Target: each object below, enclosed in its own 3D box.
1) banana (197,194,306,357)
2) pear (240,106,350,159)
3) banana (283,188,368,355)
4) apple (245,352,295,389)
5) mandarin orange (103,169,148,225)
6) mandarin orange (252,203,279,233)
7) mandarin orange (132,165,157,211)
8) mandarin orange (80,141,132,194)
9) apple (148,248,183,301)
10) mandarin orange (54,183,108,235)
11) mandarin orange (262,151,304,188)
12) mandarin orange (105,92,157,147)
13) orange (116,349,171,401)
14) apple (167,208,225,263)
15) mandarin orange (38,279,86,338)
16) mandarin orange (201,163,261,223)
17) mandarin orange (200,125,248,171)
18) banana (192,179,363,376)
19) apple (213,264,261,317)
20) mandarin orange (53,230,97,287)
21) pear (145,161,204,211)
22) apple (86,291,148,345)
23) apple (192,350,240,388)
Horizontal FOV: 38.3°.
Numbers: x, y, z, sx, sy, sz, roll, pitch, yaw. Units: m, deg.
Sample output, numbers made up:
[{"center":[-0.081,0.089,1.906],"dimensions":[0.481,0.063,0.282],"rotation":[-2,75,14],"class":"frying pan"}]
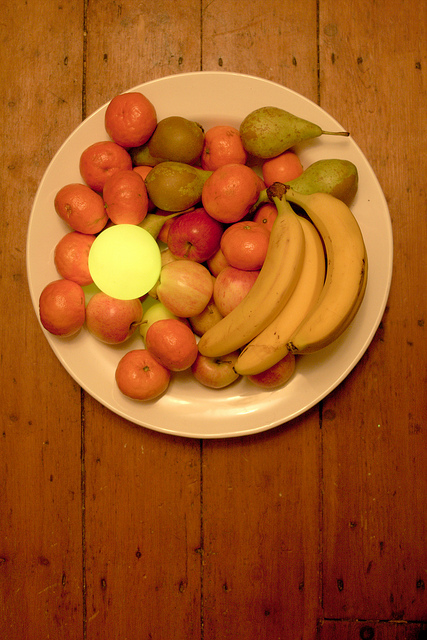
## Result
[{"center":[0.039,-0.064,0.925],"dimensions":[0.152,0.185,0.169],"rotation":[-11,53,-11],"class":"banana"},{"center":[0.100,-0.281,0.883],"dimensions":[0.129,0.030,0.065],"rotation":[-17,83,-1],"class":"pear"},{"center":[0.152,-0.076,0.830],"dimensions":[0.106,0.047,0.232],"rotation":[0,83,1],"class":"banana"},{"center":[0.091,0.077,0.886],"dimensions":[0.074,0.061,0.058],"rotation":[5,36,6],"class":"apple"},{"center":[-0.123,-0.171,0.855],"dimensions":[0.056,0.066,0.093],"rotation":[3,90,21],"class":"mandarin orange"},{"center":[0.077,-0.158,0.916],"dimensions":[0.035,0.041,0.048],"rotation":[6,105,9],"class":"mandarin orange"},{"center":[-0.101,-0.198,0.941],"dimensions":[0.044,0.073,0.054],"rotation":[2,25,12],"class":"mandarin orange"},{"center":[-0.164,-0.231,0.939],"dimensions":[0.067,0.067,0.068],"rotation":[30,49,30],"class":"mandarin orange"},{"center":[-0.082,-0.084,0.944],"dimensions":[0.051,0.068,0.073],"rotation":[13,33,10],"class":"apple"},{"center":[-0.196,-0.166,0.885],"dimensions":[0.087,0.049,0.061],"rotation":[32,84,5],"class":"mandarin orange"},{"center":[0.103,-0.224,0.906],"dimensions":[0.057,0.054,0.064],"rotation":[-16,89,10],"class":"mandarin orange"},{"center":[-0.124,-0.297,0.911],"dimensions":[0.083,0.087,0.082],"rotation":[-11,89,-26],"class":"mandarin orange"},{"center":[-0.109,0.076,0.918],"dimensions":[0.068,0.085,0.090],"rotation":[-7,99,8],"class":"orange"},{"center":[-0.024,-0.129,0.946],"dimensions":[0.086,0.073,0.074],"rotation":[28,44,31],"class":"apple"},{"center":[-0.222,-0.019,0.889],"dimensions":[0.065,0.054,0.077],"rotation":[-8,82,0],"class":"mandarin orange"},{"center":[0.017,-0.192,0.875],"dimensions":[0.084,0.088,0.080],"rotation":[-15,29,-2],"class":"mandarin orange"},{"center":[0.018,-0.255,0.944],"dimensions":[0.056,0.071,0.057],"rotation":[19,37,38],"class":"mandarin orange"},{"center":[0.124,-0.046,0.883],"dimensions":[0.178,0.119,0.343],"rotation":[9,50,28],"class":"banana"},{"center":[0.017,-0.038,0.898],"dimensions":[0.046,0.054,0.073],"rotation":[2,86,16],"class":"apple"},{"center":[-0.202,-0.087,0.881],"dimensions":[0.051,0.065,0.087],"rotation":[3,91,9],"class":"mandarin orange"},{"center":[-0.058,-0.193,0.878],"dimensions":[0.084,0.044,0.065],"rotation":[-1,82,1],"class":"pear"},{"center":[-0.146,0.000,0.905],"dimensions":[0.093,0.082,0.067],"rotation":[6,82,2],"class":"apple"},{"center":[0.003,0.073,0.953],"dimensions":[0.056,0.054,0.082],"rotation":[-5,35,-4],"class":"apple"}]
